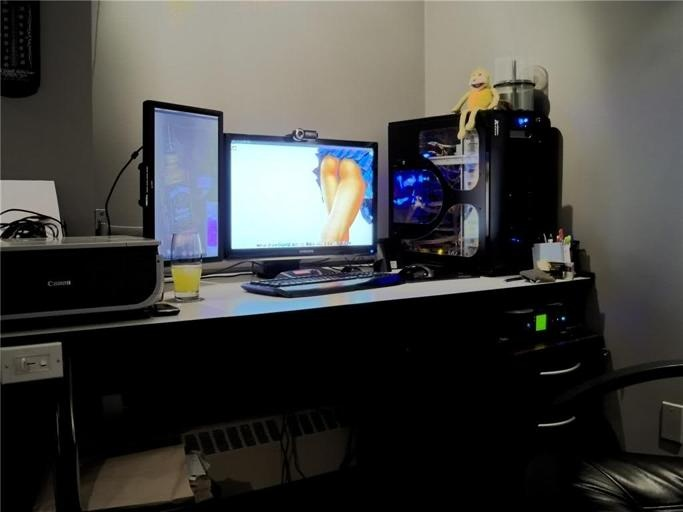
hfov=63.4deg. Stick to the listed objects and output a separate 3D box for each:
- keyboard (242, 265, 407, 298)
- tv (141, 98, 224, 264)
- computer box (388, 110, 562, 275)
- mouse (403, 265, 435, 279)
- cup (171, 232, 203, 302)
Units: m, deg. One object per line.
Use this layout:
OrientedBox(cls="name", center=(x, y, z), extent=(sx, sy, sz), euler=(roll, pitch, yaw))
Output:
OrientedBox(cls="keyboard", center=(-0.047, 0.091, 1.970), extent=(0.581, 0.068, 0.237), euler=(-9, 11, -31))
OrientedBox(cls="tv", center=(-0.553, -0.253, 1.952), extent=(0.327, 0.567, 0.052), euler=(-10, 10, -43))
OrientedBox(cls="computer box", center=(0.553, -0.304, 2.471), extent=(0.434, 0.639, 0.605), euler=(-13, 14, -41))
OrientedBox(cls="mouse", center=(0.292, 0.053, 2.133), extent=(0.085, 0.031, 0.063), euler=(2, 3, 12))
OrientedBox(cls="cup", center=(-0.508, 0.030, 1.809), extent=(0.097, 0.216, 0.154), euler=(-5, 8, -17))
